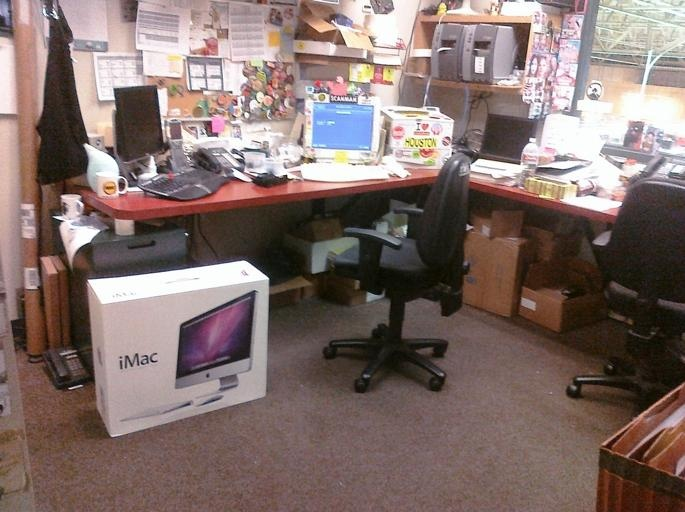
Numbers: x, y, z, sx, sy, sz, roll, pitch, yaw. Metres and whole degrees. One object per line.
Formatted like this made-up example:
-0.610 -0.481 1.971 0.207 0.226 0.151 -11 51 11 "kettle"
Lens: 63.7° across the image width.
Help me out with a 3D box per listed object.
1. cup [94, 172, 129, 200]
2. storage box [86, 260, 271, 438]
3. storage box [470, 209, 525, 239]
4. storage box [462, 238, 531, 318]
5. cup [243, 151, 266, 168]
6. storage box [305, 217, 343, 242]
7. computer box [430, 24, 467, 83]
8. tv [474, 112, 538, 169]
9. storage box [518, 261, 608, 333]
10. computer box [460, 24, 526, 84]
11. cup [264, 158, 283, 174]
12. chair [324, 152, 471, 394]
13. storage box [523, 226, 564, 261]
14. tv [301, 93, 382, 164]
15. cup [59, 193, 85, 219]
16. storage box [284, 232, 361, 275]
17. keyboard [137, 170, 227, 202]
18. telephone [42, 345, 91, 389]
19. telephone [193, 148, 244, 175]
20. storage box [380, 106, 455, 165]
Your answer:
-1.082 -0.319 2.582 0.158 0.104 0.101 5 12 -1 "cup"
-0.734 0.426 2.449 0.702 0.568 0.241 -11 23 -27 "storage box"
0.992 -0.207 3.560 0.222 0.130 0.221 -6 14 -36 "storage box"
0.994 0.134 3.502 0.419 0.408 0.232 16 19 37 "storage box"
-0.493 -0.541 3.132 0.109 0.068 0.110 -1 17 0 "cup"
-0.138 -0.194 3.657 0.196 0.120 0.182 -8 15 -34 "storage box"
0.688 -1.432 3.895 0.287 0.335 0.269 -11 30 -32 "computer box"
1.136 -0.824 3.933 0.441 0.390 0.350 21 28 16 "tv"
1.362 0.233 3.574 0.621 0.418 0.430 -10 14 -31 "storage box"
0.996 -1.355 3.751 0.287 0.354 0.352 18 25 39 "computer box"
-0.367 -0.492 3.045 0.098 0.069 0.099 3 28 -2 "cup"
0.283 0.055 2.944 0.763 1.099 0.747 -1 12 -9 "chair"
1.282 -0.069 3.552 0.143 0.219 0.228 -16 -32 29 "storage box"
-0.030 -0.708 3.621 0.644 0.544 0.365 -1 10 -10 "tv"
-1.312 -0.232 2.693 0.090 0.124 0.138 -8 20 -40 "cup"
-0.170 -0.014 3.712 0.333 0.191 0.319 -4 15 -30 "storage box"
-0.781 -0.364 2.770 0.340 0.069 0.442 8 22 12 "keyboard"
-1.365 0.559 2.752 0.178 0.102 0.271 -4 28 -41 "telephone"
-0.688 -0.520 3.033 0.202 0.058 0.193 -14 33 -44 "telephone"
0.497 -0.755 3.748 0.485 0.342 0.466 6 22 8 "storage box"
